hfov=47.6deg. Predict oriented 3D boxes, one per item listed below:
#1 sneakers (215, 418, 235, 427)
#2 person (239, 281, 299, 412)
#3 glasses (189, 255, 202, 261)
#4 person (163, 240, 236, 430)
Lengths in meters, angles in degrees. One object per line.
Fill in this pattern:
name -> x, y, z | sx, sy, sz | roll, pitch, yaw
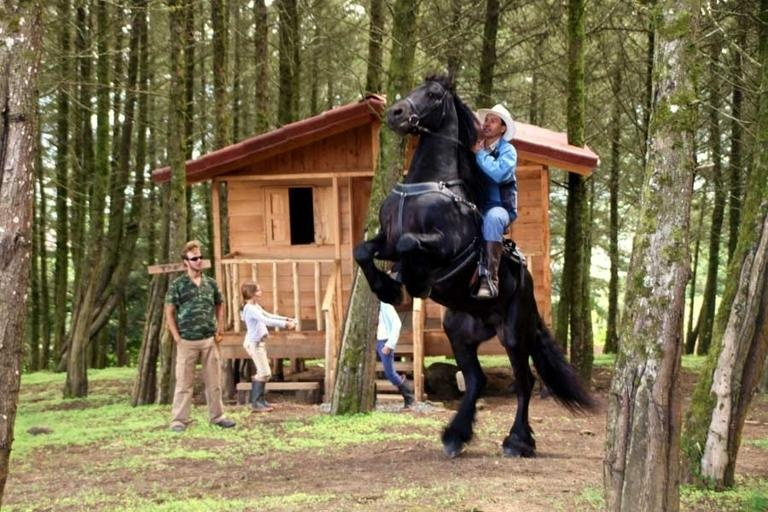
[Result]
sneakers -> -3.010, 3.173, 16.517 | 0.397, 0.195, 0.150 | 1, 2, 6
person -> -2.533, 1.884, 17.934 | 0.816, 2.412, 0.666 | 2, -1, -8
glasses -> -3.542, 0.052, 16.273 | 0.232, 0.081, 0.112 | 3, -1, -41
person -> -3.547, 1.509, 16.415 | 1.132, 3.383, 0.456 | 2, -1, -19
